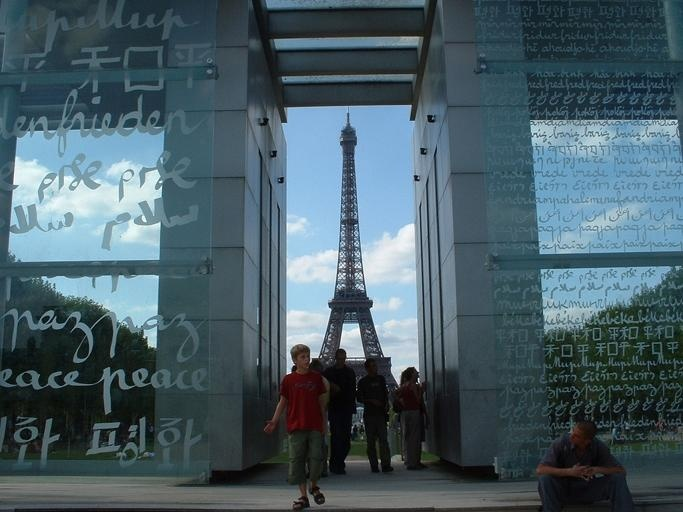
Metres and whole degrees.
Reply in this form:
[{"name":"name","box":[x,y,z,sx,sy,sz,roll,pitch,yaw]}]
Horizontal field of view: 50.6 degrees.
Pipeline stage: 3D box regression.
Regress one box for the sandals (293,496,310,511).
[{"name":"sandals","box":[-0.460,2.836,8.271,0.198,0.125,0.229,-2,-10,-3]}]

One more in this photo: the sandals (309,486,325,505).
[{"name":"sandals","box":[-0.269,2.837,8.569,0.180,0.199,0.249,0,-10,-15]}]

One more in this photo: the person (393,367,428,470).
[{"name":"person","box":[1.279,2.987,13.343,0.406,1.817,0.528,6,-13,-40]}]

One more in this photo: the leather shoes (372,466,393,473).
[{"name":"leather shoes","box":[0.717,3.722,12.582,0.426,0.118,0.247,-9,-11,32]}]

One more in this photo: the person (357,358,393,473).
[{"name":"person","box":[0.594,2.819,12.774,0.563,1.995,0.951,-3,-10,2]}]

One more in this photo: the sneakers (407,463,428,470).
[{"name":"sneakers","box":[1.427,3.846,13.200,0.389,0.167,0.132,0,-4,-16]}]
